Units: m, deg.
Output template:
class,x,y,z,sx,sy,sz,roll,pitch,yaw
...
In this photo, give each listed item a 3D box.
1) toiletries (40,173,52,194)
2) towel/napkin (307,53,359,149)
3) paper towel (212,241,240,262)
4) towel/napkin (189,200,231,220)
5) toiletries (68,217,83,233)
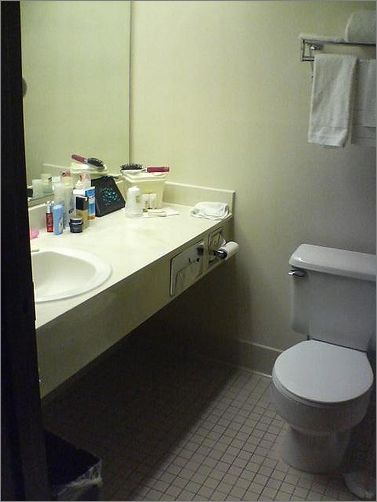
class,x,y,z,sx,sy,sz,roll,pitch,yaw
toiletries,-0.536,-0.252,1.560,0.037,0.083,0.065,-9,17,-20
towel/napkin,0.477,-0.478,1.371,0.154,0.301,0.071,14,15,41
paper towel,0.159,0.002,1.756,0.092,0.037,0.073,-22,13,49
towel/napkin,0.094,-0.182,1.888,0.160,0.066,0.096,5,19,28
toiletries,-0.431,-0.096,1.574,0.047,0.051,0.050,-13,32,-28
